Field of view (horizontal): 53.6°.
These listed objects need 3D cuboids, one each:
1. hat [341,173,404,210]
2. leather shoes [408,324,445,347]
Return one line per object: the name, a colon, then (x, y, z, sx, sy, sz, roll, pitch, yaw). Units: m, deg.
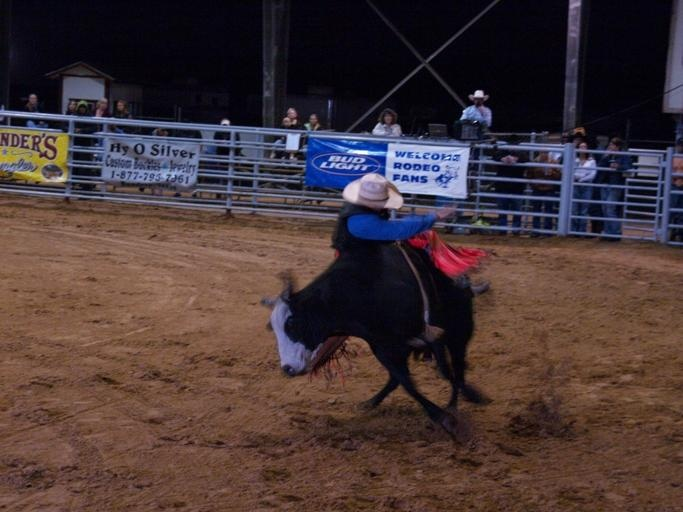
hat: (0.199, -0.493, 5.604, 0.495, 0.143, 0.342, 23, 44, 16)
leather shoes: (0.716, 0.666, 5.630, 0.423, 0.099, 0.144, -16, -14, 0)
